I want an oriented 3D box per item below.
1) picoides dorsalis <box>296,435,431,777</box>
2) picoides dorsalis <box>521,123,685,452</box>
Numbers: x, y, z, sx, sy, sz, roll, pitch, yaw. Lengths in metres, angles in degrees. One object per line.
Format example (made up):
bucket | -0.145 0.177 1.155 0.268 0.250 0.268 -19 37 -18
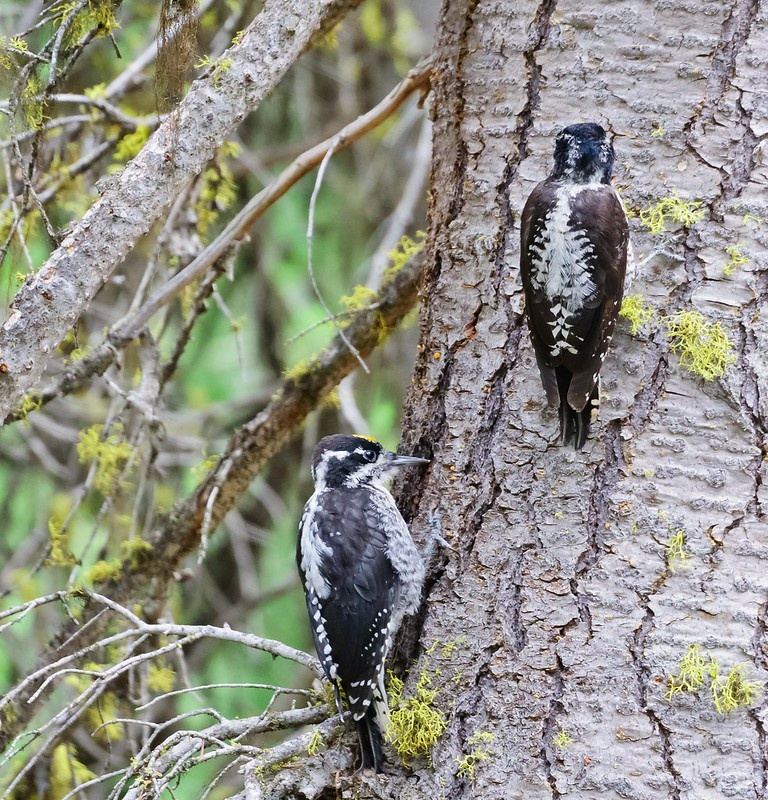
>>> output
picoides dorsalis | -0.055 0.701 4.217 0.464 0.370 1.225 -5 48 -3
picoides dorsalis | 0.662 -0.325 3.936 0.317 0.445 1.043 0 80 11
